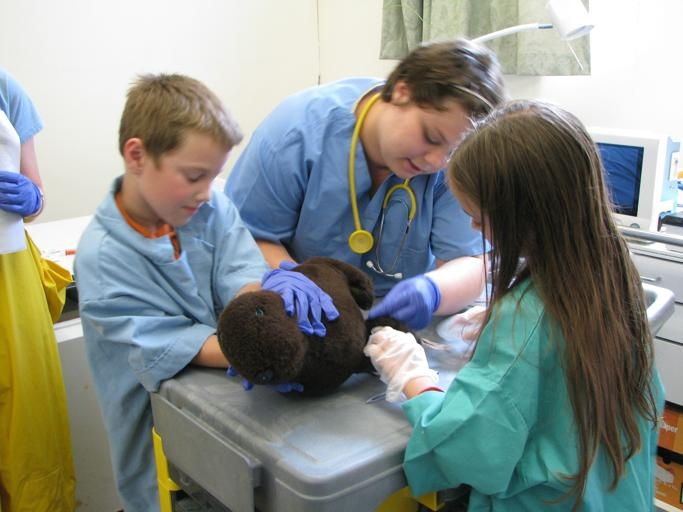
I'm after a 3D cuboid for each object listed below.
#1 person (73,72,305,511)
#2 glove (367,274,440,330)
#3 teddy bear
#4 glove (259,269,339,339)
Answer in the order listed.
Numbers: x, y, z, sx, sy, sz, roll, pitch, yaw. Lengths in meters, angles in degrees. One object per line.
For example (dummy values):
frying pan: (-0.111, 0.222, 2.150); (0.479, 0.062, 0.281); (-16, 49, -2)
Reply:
person: (-0.367, 0.080, 1.261); (0.346, 0.976, 0.365); (-2, 10, 21)
glove: (0.141, 0.101, 1.267); (0.143, 0.054, 0.109); (-22, 45, 14)
teddy bear: (-0.048, 0.133, 1.044); (0.117, 0.220, 0.282); (-38, -8, 21)
glove: (-0.072, 0.085, 1.048); (0.100, 0.046, 0.174); (1, 31, -22)
